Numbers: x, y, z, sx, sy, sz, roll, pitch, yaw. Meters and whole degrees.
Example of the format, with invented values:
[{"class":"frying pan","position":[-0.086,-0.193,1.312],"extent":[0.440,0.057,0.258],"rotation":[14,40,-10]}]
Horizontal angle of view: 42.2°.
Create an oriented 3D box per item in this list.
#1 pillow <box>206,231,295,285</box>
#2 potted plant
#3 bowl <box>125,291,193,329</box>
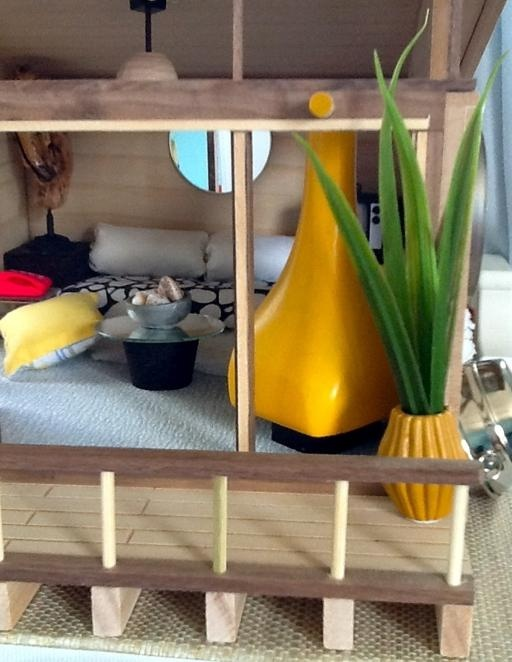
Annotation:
[{"class":"pillow","position":[-0.014,-0.332,2.961],"extent":[0.355,0.084,0.318],"rotation":[0,21,14]},{"class":"potted plant","position":[0.213,-0.079,1.038],"extent":[0.311,0.798,0.319],"rotation":[2,13,3]},{"class":"bowl","position":[-0.296,-0.056,2.014],"extent":[0.185,0.102,0.154],"rotation":[-1,12,-9]}]
